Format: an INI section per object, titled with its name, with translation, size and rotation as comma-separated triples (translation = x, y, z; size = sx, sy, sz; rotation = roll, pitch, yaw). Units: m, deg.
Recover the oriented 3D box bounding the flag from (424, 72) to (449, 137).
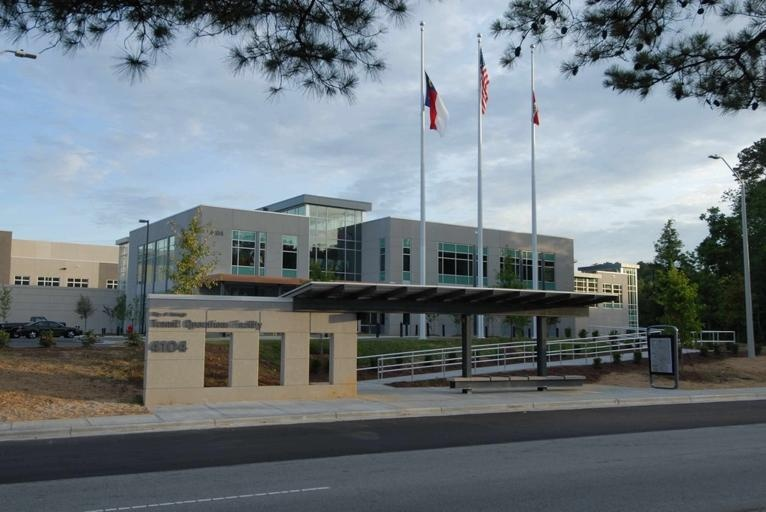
[flag]
translation = 2.875, -8.396, 42.592
size = 1.106, 3.649, 2.463
rotation = 0, -8, 3
